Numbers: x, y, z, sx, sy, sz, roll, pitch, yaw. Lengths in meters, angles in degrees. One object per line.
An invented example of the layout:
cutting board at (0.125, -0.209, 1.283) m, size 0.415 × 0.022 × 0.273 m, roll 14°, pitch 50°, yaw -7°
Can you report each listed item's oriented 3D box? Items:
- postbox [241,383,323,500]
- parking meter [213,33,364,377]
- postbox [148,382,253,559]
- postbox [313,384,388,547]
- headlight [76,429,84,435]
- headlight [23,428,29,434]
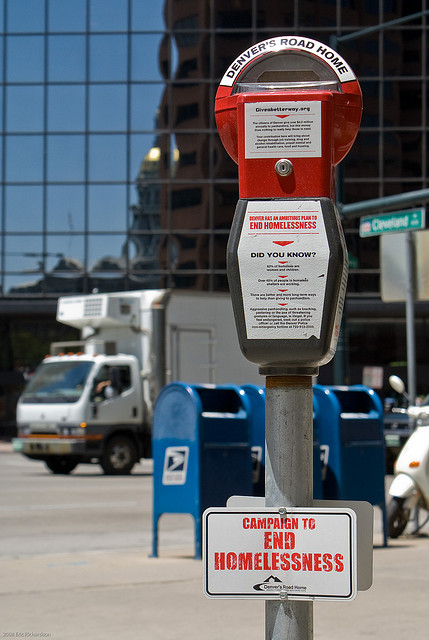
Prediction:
postbox at (0.538, 0.910, 9.243) m, size 0.586 × 1.205 × 0.585 m, roll -3°, pitch -3°, yaw -32°
parking meter at (0.174, -0.318, 3.092) m, size 0.387 × 0.730 × 0.368 m, roll 2°, pitch 1°, yaw 6°
postbox at (-0.077, 1.068, 8.527) m, size 0.569 × 1.218 × 0.495 m, roll 5°, pitch -8°, yaw -41°
postbox at (1.039, 1.136, 9.766) m, size 0.624 × 1.287 × 0.580 m, roll -3°, pitch -6°, yaw 4°
headlight at (-1.631, 1.320, 14.692) m, size 0.087 × 0.067 × 0.051 m, roll -1°, pitch 13°, yaw 3°
headlight at (-2.187, 1.271, 14.065) m, size 0.049 × 0.084 × 0.052 m, roll -1°, pitch -3°, yaw -4°
